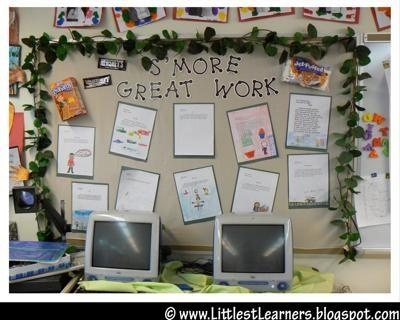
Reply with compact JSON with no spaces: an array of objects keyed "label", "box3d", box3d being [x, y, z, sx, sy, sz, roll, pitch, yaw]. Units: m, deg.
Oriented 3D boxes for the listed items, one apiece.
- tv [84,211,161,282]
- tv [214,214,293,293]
[{"label":"tv","box3d":[-0.408,0.435,1.737,0.368,0.337,0.203,4,1,-7]},{"label":"tv","box3d":[0.244,0.425,1.782,0.531,0.496,0.317,0,-6,3]}]
